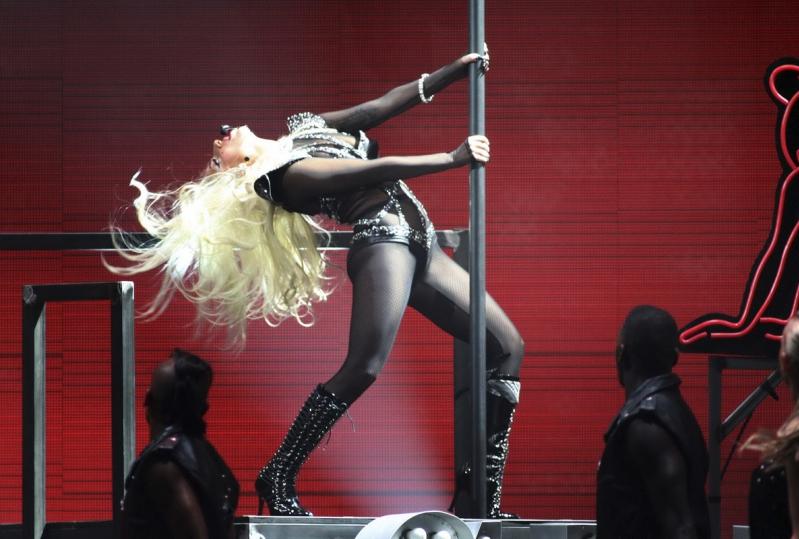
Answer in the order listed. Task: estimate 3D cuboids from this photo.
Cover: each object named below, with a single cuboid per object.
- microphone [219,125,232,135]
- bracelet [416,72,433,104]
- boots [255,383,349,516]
[{"bbox_3d":[-0.857,-0.686,5.423,0.065,0.034,0.043,1,5,-11],"label":"microphone"},{"bbox_3d":[0.131,-0.884,5.424,0.070,0.124,0.101,6,-14,17],"label":"bracelet"},{"bbox_3d":[-0.483,0.879,5.285,0.285,0.542,0.472,16,-35,-15],"label":"boots"}]
